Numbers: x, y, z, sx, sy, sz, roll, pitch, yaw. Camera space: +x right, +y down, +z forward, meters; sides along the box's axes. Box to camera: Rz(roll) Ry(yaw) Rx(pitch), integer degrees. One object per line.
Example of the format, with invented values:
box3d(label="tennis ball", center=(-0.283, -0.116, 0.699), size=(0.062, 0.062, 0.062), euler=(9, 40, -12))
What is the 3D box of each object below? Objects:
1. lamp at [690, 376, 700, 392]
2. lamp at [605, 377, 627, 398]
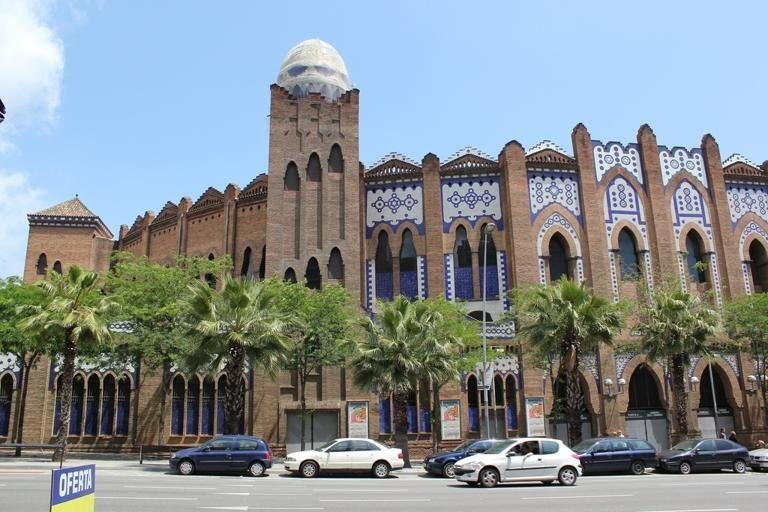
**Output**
box3d(label="lamp", center=(21.263, 8.782, 49.521), size=(0.982, 1.106, 0.980), euler=(-5, -18, 24))
box3d(label="lamp", center=(15.789, 9.088, 49.661), size=(1.682, 1.544, 1.122), euler=(-1, -10, 3))
